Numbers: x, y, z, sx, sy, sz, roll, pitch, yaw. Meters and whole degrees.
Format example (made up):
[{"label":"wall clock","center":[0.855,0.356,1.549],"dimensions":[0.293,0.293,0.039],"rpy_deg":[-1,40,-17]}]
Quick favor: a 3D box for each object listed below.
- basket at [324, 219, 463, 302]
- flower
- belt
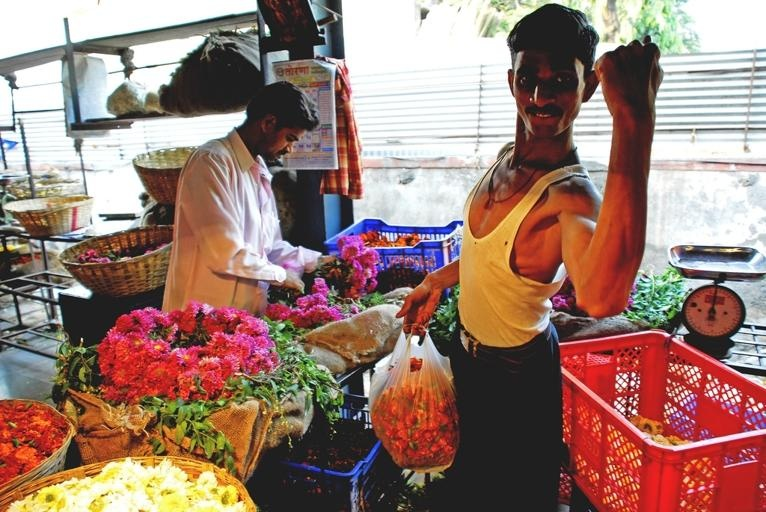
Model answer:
[{"label":"basket","center":[0.148,-0.050,3.813],"dimensions":[0.686,0.395,0.669],"rpy_deg":[2,15,10]},{"label":"flower","center":[-0.772,0.393,2.931],"dimensions":[0.860,0.469,1.099],"rpy_deg":[24,45,-3]},{"label":"belt","center":[0.450,0.360,2.386],"dimensions":[0.296,0.073,0.285],"rpy_deg":[-5,24,-36]}]
